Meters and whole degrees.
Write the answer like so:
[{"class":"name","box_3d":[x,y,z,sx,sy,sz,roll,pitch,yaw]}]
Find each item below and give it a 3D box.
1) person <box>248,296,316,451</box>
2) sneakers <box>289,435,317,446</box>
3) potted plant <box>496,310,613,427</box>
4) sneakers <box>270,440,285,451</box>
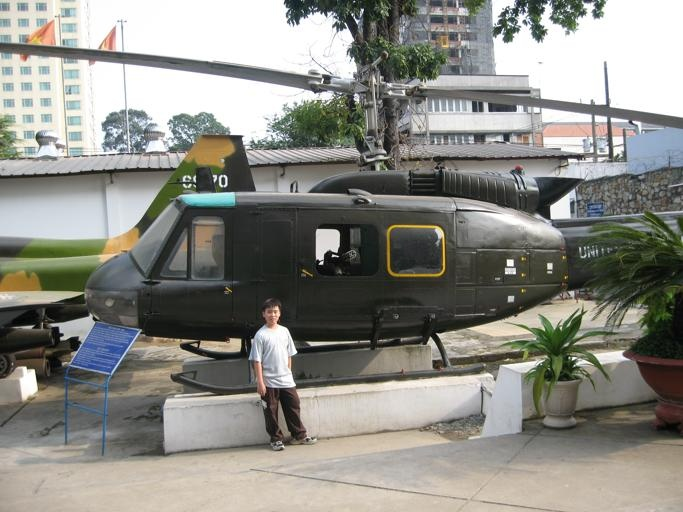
[{"class":"person","box_3d":[-0.820,1.598,8.654,0.663,2.009,0.360,-10,6,-28]},{"class":"sneakers","box_3d":[-0.512,2.531,8.804,0.367,0.148,0.138,0,-4,-2]},{"class":"potted plant","box_3d":[2.746,1.463,8.230,1.283,1.462,1.308,3,-4,-35]},{"class":"sneakers","box_3d":[-0.846,2.528,8.619,0.179,0.130,0.257,-6,5,-5]}]
